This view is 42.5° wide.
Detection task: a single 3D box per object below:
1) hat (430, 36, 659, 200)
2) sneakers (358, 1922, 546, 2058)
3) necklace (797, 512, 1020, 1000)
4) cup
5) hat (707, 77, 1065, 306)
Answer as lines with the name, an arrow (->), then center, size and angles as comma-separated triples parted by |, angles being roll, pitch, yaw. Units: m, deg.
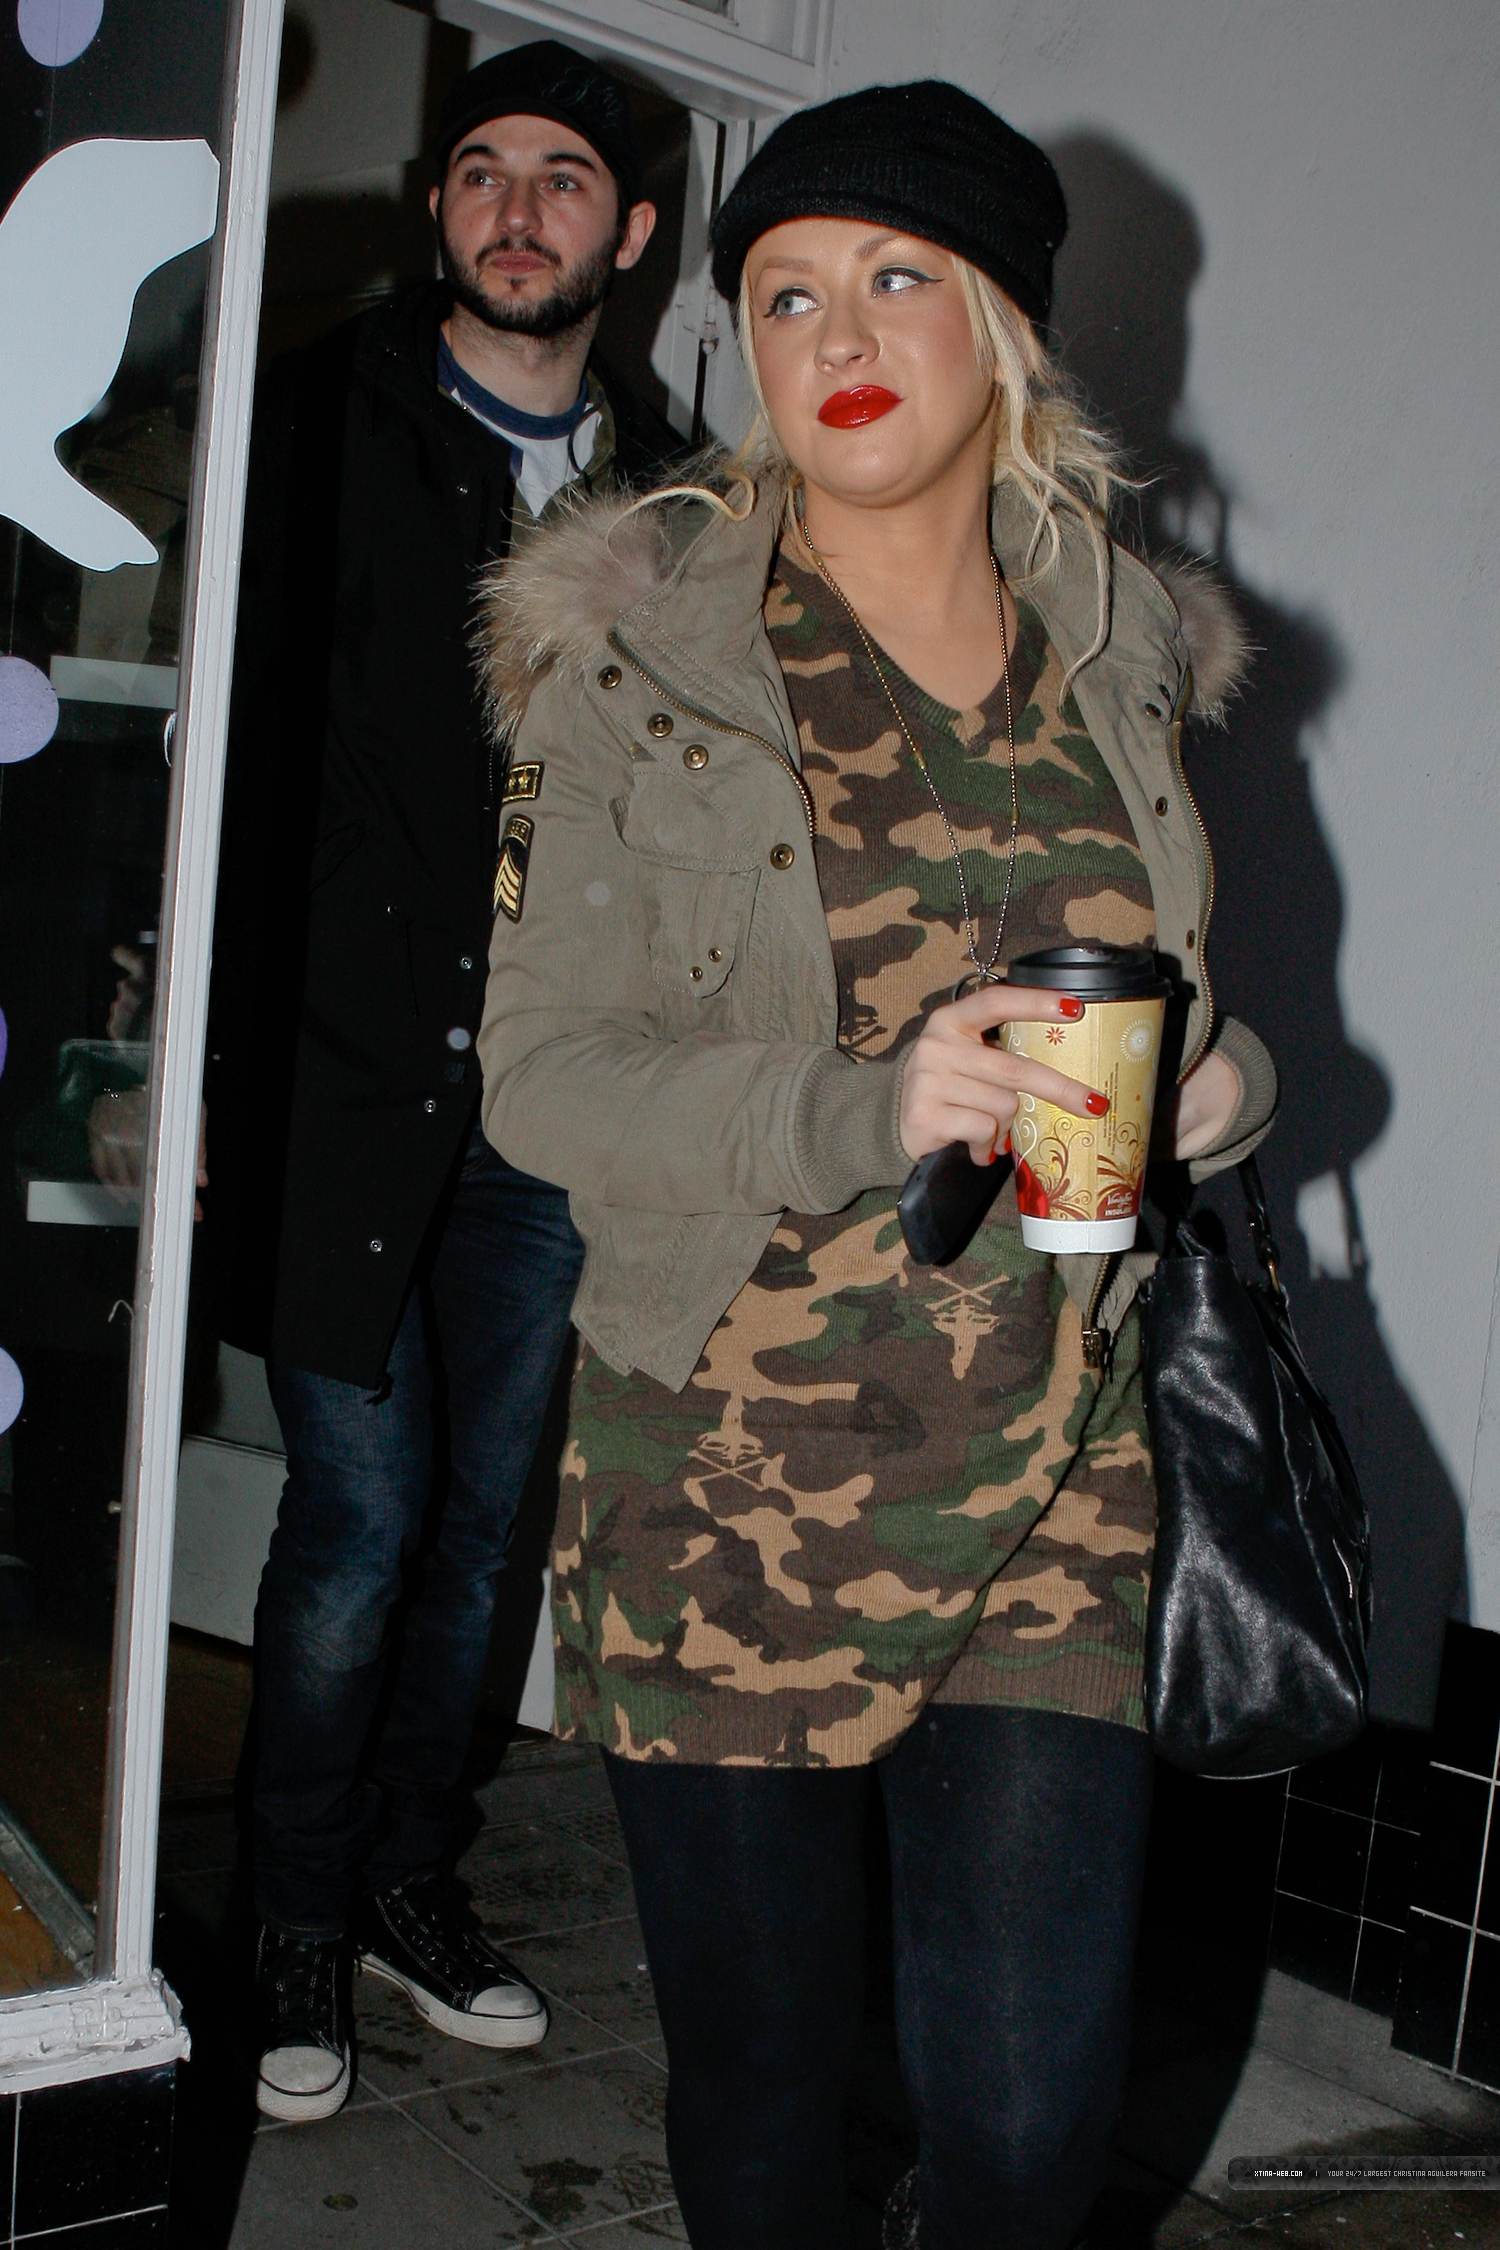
hat -> -0.283, -1.362, 2.552 | 0.265, 0.167, 0.312 | -3, 21, -25
sneakers -> -0.366, 1.023, 2.333 | 0.091, 0.097, 0.260 | -2, 1, -38
necklace -> 0.111, -0.248, 1.334 | 0.116, 0.317, 0.034 | -2, -24, -20
cup -> 0.181, -0.011, 1.077 | 0.115, 0.146, 0.105 | 0, -1, 2
hat -> 0.095, -0.630, 1.340 | 0.227, 0.122, 0.161 | -3, -3, 3
